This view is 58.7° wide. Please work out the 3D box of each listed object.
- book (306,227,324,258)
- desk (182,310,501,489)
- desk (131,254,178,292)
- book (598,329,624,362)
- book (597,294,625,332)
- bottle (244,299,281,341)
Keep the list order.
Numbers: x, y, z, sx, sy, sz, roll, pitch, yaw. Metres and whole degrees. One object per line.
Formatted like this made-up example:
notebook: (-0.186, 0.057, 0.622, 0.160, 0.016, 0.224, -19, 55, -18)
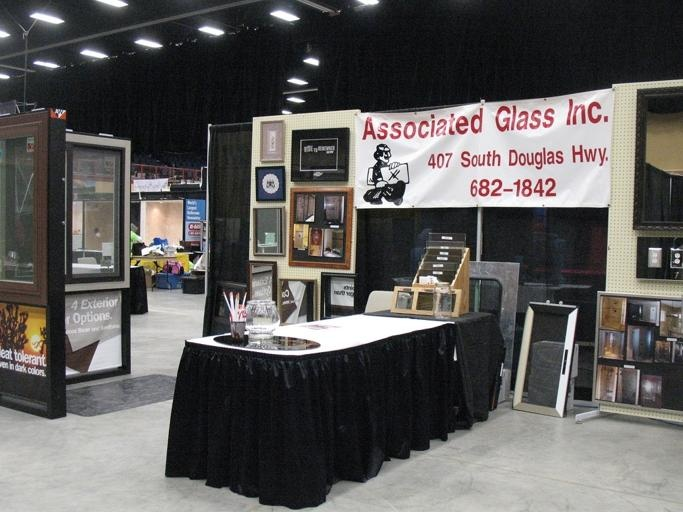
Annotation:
book: (-0.288, -0.155, 6.727, 0.192, 0.311, 0.044, 3, 4, 36)
desk: (0.073, 0.972, 4.459, 0.996, 0.638, 1.910, -1, -2, 39)
desk: (-4.692, 0.429, 15.642, 1.288, 0.773, 0.933, 2, 4, 12)
book: (2.456, 0.806, 5.519, 0.228, 0.351, 0.235, 0, 0, 27)
book: (2.458, 0.512, 5.514, 0.279, 0.415, 0.280, 0, -2, 24)
bottle: (-0.539, 0.419, 4.074, 0.194, 0.257, 0.257, 0, 4, -14)
